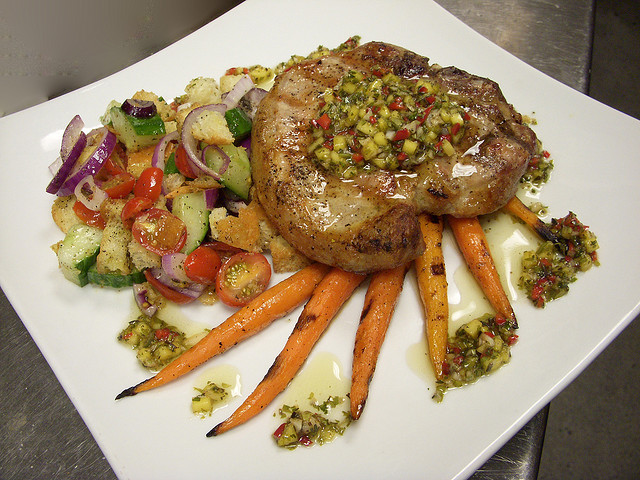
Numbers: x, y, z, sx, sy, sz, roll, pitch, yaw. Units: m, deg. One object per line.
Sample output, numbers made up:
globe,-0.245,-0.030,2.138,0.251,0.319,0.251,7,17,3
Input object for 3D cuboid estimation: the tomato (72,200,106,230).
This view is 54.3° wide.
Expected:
tomato,-2.272,-0.253,6.164,0.240,0.077,0.337,-39,97,6

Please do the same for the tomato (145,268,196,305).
tomato,-1.496,0.494,6.055,0.359,0.354,0.153,39,87,5

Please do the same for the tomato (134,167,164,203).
tomato,-1.690,-0.571,6.156,0.280,0.405,0.263,2,74,-21

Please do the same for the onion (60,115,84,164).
onion,-2.473,-0.990,6.193,0.092,0.304,0.443,22,85,-26

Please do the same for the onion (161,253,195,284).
onion,-1.371,0.278,5.993,0.234,0.317,0.204,-15,61,-6

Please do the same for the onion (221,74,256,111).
onion,-0.854,-1.512,6.515,0.348,0.126,0.273,-38,67,18

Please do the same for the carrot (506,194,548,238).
carrot,2.085,-0.233,6.291,0.113,0.120,0.464,-11,55,-46

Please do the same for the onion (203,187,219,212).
onion,-1.087,-0.408,6.153,0.154,0.044,0.224,-4,101,-50

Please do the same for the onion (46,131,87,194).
onion,-2.461,-0.723,6.087,0.116,0.439,0.531,25,89,-16

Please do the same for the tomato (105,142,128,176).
tomato,-2.032,-0.797,6.248,0.207,0.073,0.323,14,75,-36

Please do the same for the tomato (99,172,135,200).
tomato,-1.958,-0.527,6.067,0.338,0.138,0.216,-33,66,-14
